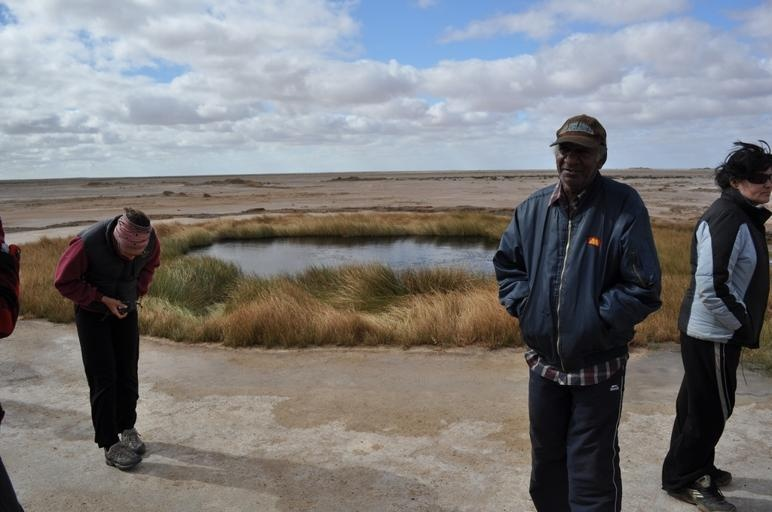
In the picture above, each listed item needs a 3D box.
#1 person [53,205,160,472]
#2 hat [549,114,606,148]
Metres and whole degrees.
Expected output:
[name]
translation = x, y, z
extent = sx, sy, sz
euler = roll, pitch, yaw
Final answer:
[person]
translation = -2.868, 0.865, 5.807
extent = 0.936, 2.678, 0.738
euler = -12, 18, -38
[hat]
translation = 1.657, -1.053, 4.637
extent = 0.394, 0.297, 0.543
euler = 12, 14, 31
